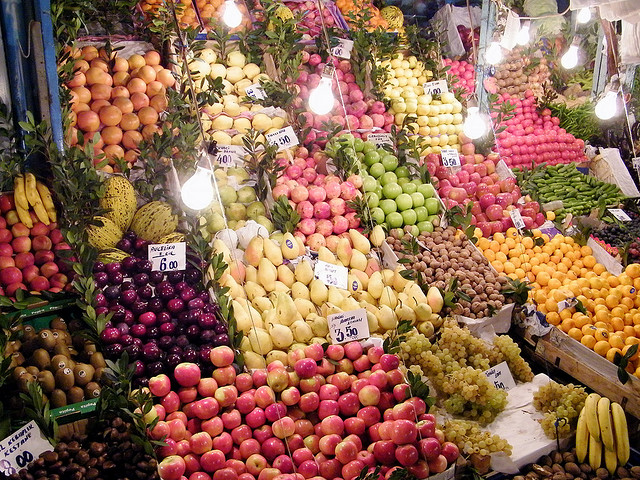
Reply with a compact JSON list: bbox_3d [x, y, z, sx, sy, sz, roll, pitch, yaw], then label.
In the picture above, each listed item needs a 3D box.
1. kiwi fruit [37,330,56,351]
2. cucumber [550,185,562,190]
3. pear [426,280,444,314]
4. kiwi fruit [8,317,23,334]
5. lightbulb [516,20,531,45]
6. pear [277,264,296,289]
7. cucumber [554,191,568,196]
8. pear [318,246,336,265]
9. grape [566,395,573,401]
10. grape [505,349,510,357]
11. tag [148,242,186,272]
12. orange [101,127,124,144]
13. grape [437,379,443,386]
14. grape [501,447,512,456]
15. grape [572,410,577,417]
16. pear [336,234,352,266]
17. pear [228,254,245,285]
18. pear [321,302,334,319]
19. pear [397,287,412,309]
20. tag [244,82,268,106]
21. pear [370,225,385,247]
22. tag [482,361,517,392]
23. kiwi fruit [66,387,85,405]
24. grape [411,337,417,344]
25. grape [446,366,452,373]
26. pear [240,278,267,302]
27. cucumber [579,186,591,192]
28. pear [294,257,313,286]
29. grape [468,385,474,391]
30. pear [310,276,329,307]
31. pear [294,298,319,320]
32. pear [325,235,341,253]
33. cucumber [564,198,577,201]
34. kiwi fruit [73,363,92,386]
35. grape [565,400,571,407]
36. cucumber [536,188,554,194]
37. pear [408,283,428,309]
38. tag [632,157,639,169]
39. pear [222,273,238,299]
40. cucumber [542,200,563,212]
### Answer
[{"bbox_3d":[-1.763,0.649,3.232,0.083,0.125,0.091,14,39,14],"label":"kiwi fruit"},{"bbox_3d":[2.947,-0.659,6.162,0.168,0.068,0.033,-17,9,-13],"label":"cucumber"},{"bbox_3d":[0.970,0.505,4.229,0.114,0.223,0.110,1,-20,-20],"label":"pear"},{"bbox_3d":[-1.990,0.566,3.239,0.088,0.110,0.089,0,-29,-33],"label":"kiwi fruit"},{"bbox_3d":[2.416,-2.459,5.913,0.149,0.211,0.546,-10,10,24],"label":"lightbulb"},{"bbox_3d":[-0.282,0.301,4.114,0.110,0.199,0.108,-23,-14,1],"label":"pear"},{"bbox_3d":[2.976,-0.576,6.096,0.183,0.061,0.024,-17,9,-13],"label":"cucumber"},{"bbox_3d":[0.053,0.137,4.237,0.112,0.153,0.079,-24,-3,-5],"label":"pear"},{"bbox_3d":[1.895,1.204,3.752,0.032,0.042,0.033,10,-18,-16],"label":"grape"},{"bbox_3d":[1.523,0.918,4.017,0.035,0.047,0.037,2,7,35],"label":"grape"},{"bbox_3d":[-1.196,0.141,3.852,0.206,0.170,0.009,-1,-18,-6],"label":"tag"},{"bbox_3d":[-1.853,-0.933,4.378,0.148,0.153,0.150,-2,13,-21],"label":"orange"},{"bbox_3d":[0.926,1.100,3.808,0.021,0.052,0.053,-19,10,-36],"label":"grape"},{"bbox_3d":[1.309,1.475,3.446,0.022,0.051,0.052,-54,-17,-20],"label":"grape"},{"bbox_3d":[1.921,1.308,3.731,0.039,0.052,0.042,-2,3,9],"label":"grape"},{"bbox_3d":[0.196,0.087,4.369,0.107,0.240,0.118,-8,-6,-28],"label":"pear"},{"bbox_3d":[-0.678,0.245,4.014,0.116,0.211,0.122,-30,-5,27],"label":"pear"},{"bbox_3d":[0.058,0.559,3.907,0.076,0.109,0.063,-20,-12,31],"label":"pear"},{"bbox_3d":[0.706,0.480,4.116,0.094,0.100,0.141,7,52,22],"label":"pear"},{"bbox_3d":[-0.653,-1.475,5.018,0.174,0.216,0.028,-24,2,-16],"label":"tag"},{"bbox_3d":[0.537,-0.043,4.601,0.112,0.188,0.109,-19,-19,30],"label":"pear"},{"bbox_3d":[1.444,1.095,3.987,0.246,0.245,0.056,-24,9,-27],"label":"tag"},{"bbox_3d":[-1.546,0.981,3.112,0.085,0.119,0.092,-9,-5,20],"label":"kiwi fruit"},{"bbox_3d":[0.727,0.785,3.843,0.033,0.043,0.034,-13,-8,25],"label":"grape"},{"bbox_3d":[0.993,0.994,3.812,0.033,0.043,0.034,-4,-13,27],"label":"grape"},{"bbox_3d":[-0.533,0.389,3.938,0.089,0.176,0.101,-47,-8,-43],"label":"pear"},{"bbox_3d":[3.313,-0.633,6.202,0.134,0.072,0.052,20,1,-10],"label":"cucumber"},{"bbox_3d":[-0.133,0.264,4.120,0.115,0.204,0.126,-3,2,-35],"label":"pear"},{"bbox_3d":[1.117,1.098,3.665,0.023,0.031,0.014,-2,-8,9],"label":"grape"},{"bbox_3d":[-0.006,0.423,4.016,0.163,0.288,0.170,-11,-16,0],"label":"pear"},{"bbox_3d":[-0.123,0.525,3.892,0.101,0.170,0.131,-52,-12,26],"label":"pear"},{"bbox_3d":[0.106,0.030,4.412,0.124,0.157,0.132,3,-20,-15],"label":"pear"},{"bbox_3d":[3.076,-0.500,6.056,0.133,0.037,0.074,-20,10,-28],"label":"cucumber"},{"bbox_3d":[-1.526,0.865,3.165,0.096,0.119,0.062,-16,-1,38],"label":"kiwi fruit"},{"bbox_3d":[1.869,1.231,3.728,0.039,0.026,0.031,-25,-5,21],"label":"grape"},{"bbox_3d":[2.802,-0.613,6.098,0.127,0.046,0.067,-5,36,2],"label":"cucumber"},{"bbox_3d":[0.810,0.451,4.105,0.110,0.202,0.100,1,-34,-16],"label":"pear"},{"bbox_3d":[3.996,-0.973,6.246,0.045,0.120,0.253,-6,12,39],"label":"tag"},{"bbox_3d":[-0.688,0.357,3.850,0.071,0.152,0.121,-13,-5,27],"label":"pear"},{"bbox_3d":[2.662,-0.386,5.672,0.325,0.091,0.104,-19,10,-23],"label":"cucumber"}]
